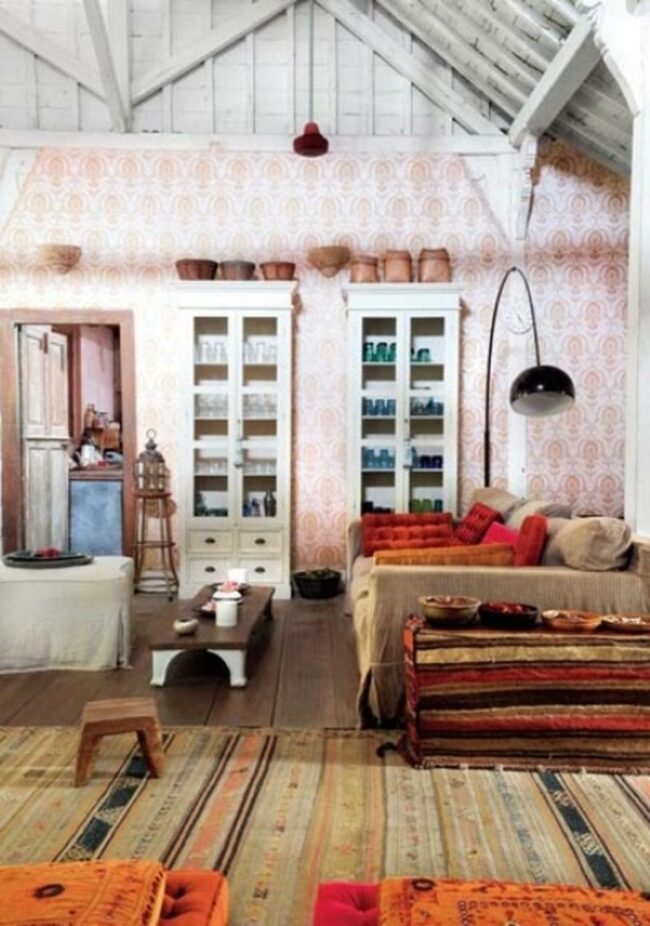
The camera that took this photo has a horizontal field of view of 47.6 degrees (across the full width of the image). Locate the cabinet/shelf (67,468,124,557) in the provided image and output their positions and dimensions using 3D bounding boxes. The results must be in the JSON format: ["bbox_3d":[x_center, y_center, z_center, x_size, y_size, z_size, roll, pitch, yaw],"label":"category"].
[{"bbox_3d":[-2.009,0.427,6.420,0.450,0.706,0.497,0,-1,-14],"label":"cabinet/shelf"}]

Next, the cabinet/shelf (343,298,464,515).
[{"bbox_3d":[0.584,-0.420,5.429,0.826,1.691,0.470,0,-1,7],"label":"cabinet/shelf"}]

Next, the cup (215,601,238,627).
[{"bbox_3d":[-0.447,0.692,3.391,0.108,0.120,0.111,2,2,0],"label":"cup"}]

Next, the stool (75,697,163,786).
[{"bbox_3d":[-0.630,0.839,2.268,0.233,0.186,0.236,-1,1,-11],"label":"stool"}]

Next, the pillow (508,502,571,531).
[{"bbox_3d":[0.997,0.226,3.407,0.180,0.067,0.219,-19,-2,-13],"label":"pillow"}]

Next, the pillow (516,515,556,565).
[{"bbox_3d":[0.847,0.313,2.925,0.051,0.154,0.137,7,24,-3],"label":"pillow"}]

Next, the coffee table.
[{"bbox_3d":[-0.538,0.865,3.659,0.490,0.336,1.121,0,-1,-2],"label":"coffee table"}]

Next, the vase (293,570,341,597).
[{"bbox_3d":[-0.039,0.878,5.333,0.234,0.113,0.240,-1,-5,-4],"label":"vase"}]

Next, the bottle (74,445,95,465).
[{"bbox_3d":[-2.467,-0.075,7.582,0.205,0.197,0.502,0,-1,-17],"label":"bottle"}]

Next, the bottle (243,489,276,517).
[{"bbox_3d":[-0.464,0.312,5.330,0.206,0.198,0.049,-2,-17,11],"label":"bottle"}]
